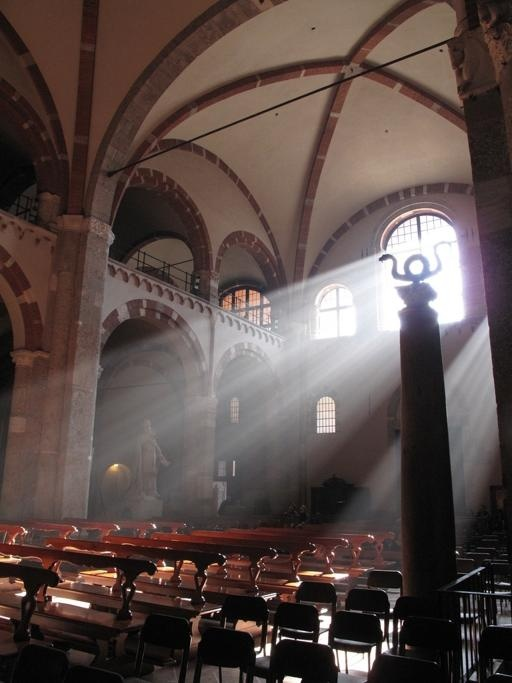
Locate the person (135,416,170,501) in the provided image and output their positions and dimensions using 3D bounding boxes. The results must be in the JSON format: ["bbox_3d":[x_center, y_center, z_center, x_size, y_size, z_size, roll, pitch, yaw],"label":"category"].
[{"bbox_3d":[-2.898,3.241,15.041,0.885,2.140,0.561,16,-25,-30],"label":"person"}]
